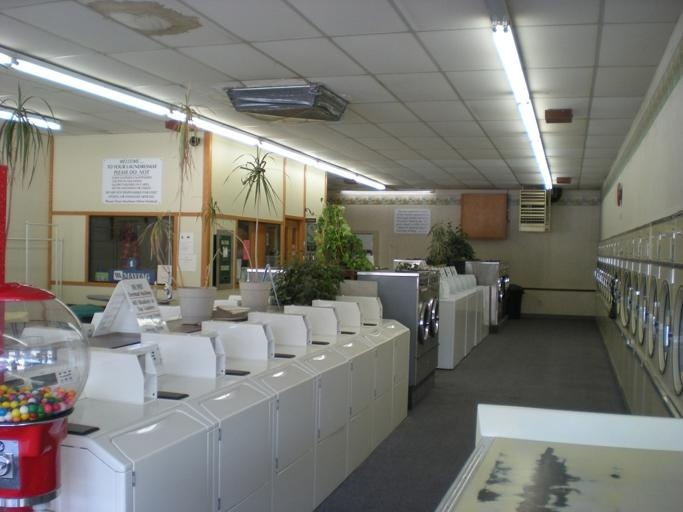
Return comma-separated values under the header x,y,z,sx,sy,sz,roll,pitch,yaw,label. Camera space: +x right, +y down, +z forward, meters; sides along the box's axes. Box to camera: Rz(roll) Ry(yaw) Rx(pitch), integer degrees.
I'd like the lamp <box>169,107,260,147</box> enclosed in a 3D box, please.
x,y,z,sx,sy,sz,roll,pitch,yaw,label
-1.809,-2.057,7.547,1.129,0.088,0.170,10,25,-44,lamp

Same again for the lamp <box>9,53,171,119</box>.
x,y,z,sx,sy,sz,roll,pitch,yaw,label
-3.213,-2.117,5.954,0.446,0.237,2.008,1,5,35,lamp

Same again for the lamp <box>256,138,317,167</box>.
x,y,z,sx,sy,sz,roll,pitch,yaw,label
-1.063,-1.997,9.055,0.179,0.065,1.338,-28,-23,27,lamp

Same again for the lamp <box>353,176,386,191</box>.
x,y,z,sx,sy,sz,roll,pitch,yaw,label
0.824,-2.083,13.430,0.586,0.181,2.459,-1,4,13,lamp
